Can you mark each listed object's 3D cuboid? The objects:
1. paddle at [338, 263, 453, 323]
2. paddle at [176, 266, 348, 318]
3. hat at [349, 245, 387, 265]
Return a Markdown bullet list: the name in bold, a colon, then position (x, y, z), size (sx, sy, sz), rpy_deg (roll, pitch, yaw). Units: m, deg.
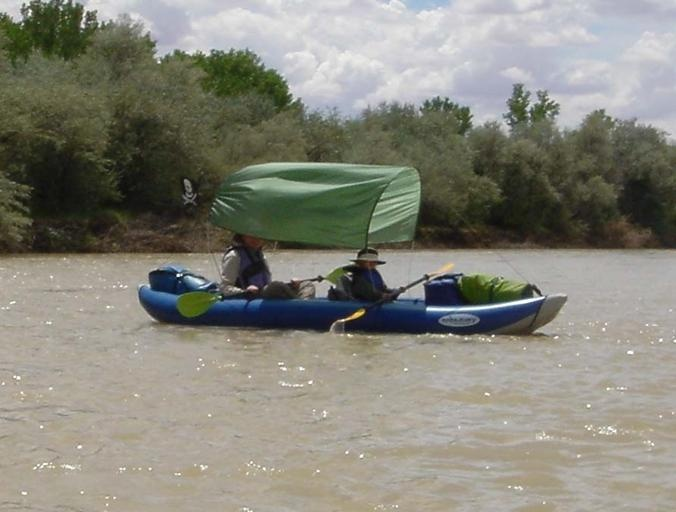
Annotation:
- **paddle**: position (1.311, 0.922, 30.641), size (3.278, 0.300, 0.271), rpy_deg (-21, -31, -6)
- **paddle**: position (-1.702, 0.715, 30.626), size (4.572, 0.604, 0.301), rpy_deg (-12, 17, -27)
- **hat**: position (0.668, -0.013, 29.803), size (0.654, 0.415, 1.193), rpy_deg (4, 2, 37)
